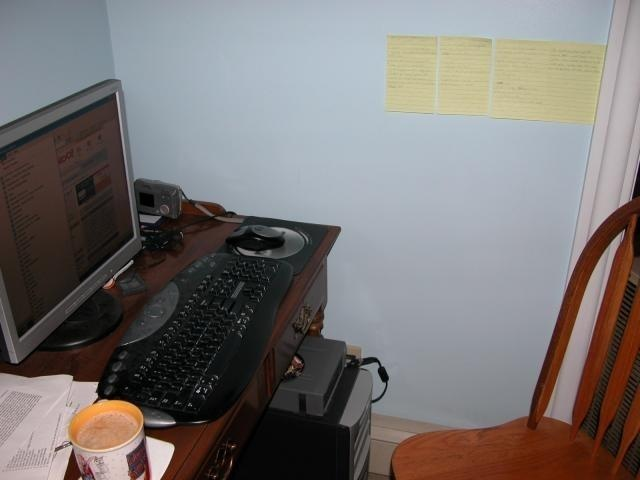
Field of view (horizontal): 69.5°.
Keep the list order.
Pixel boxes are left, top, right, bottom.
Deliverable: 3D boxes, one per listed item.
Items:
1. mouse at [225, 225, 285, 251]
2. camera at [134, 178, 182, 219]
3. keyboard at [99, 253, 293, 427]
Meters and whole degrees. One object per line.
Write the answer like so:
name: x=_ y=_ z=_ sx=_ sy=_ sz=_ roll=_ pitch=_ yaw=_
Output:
mouse: x=-0.200 y=-0.011 z=1.361 sx=0.126 sy=0.042 sz=0.086 roll=6 pitch=23 yaw=4
camera: x=-0.532 y=-0.137 z=1.510 sx=0.148 sy=0.097 sz=0.083 roll=9 pitch=31 yaw=12
keyboard: x=-0.253 y=0.182 z=1.053 sx=0.293 sy=0.049 sz=0.513 roll=9 pitch=41 yaw=11
